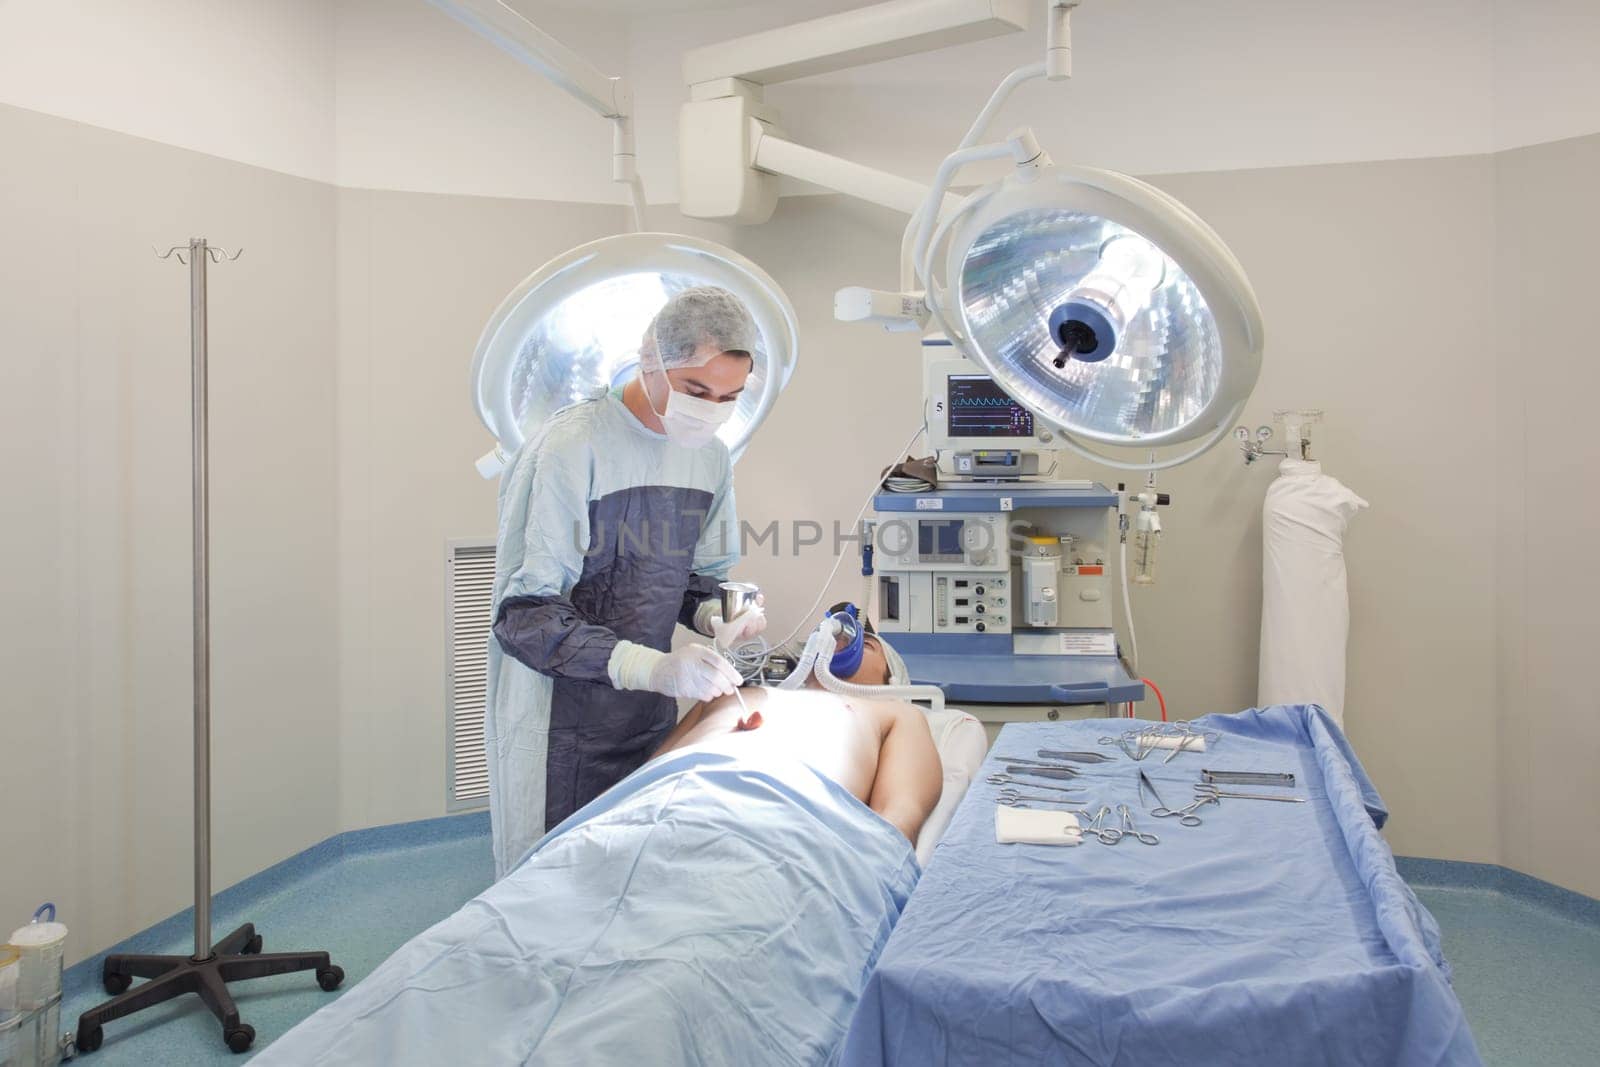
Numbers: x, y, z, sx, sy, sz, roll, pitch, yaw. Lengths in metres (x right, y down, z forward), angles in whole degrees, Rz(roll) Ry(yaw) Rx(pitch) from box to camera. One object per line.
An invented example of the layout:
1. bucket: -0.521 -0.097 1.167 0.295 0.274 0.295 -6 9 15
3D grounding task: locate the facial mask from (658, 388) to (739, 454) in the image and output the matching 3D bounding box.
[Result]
1. facial mask: -0.214 -0.234 2.457 0.111 0.091 0.112 -1 34 -39
